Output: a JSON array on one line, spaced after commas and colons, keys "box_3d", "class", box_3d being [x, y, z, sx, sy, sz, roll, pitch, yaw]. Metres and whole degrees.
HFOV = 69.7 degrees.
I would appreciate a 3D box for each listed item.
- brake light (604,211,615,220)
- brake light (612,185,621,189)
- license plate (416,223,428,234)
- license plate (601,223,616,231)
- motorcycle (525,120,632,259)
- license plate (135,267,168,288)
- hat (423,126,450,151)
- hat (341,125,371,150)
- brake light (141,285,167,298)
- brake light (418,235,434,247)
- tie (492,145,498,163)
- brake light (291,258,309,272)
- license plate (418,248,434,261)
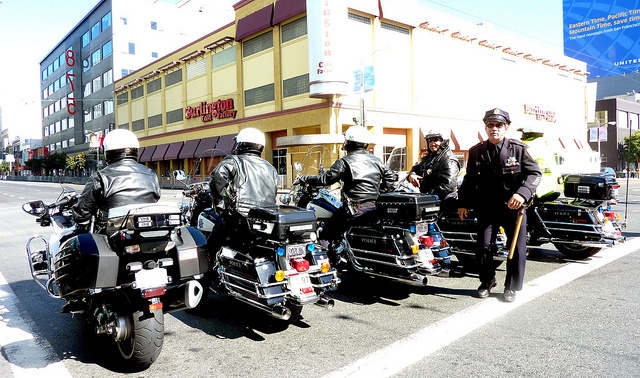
[{"box_3d": [6.606, 0.612, 10.567, 0.190, 0.183, 0.346, 4, 4, 12], "class": "brake light"}, {"box_3d": [6.828, -0.057, 10.627, 0.427, 0.074, 0.047, -3, 2, -39], "class": "brake light"}, {"box_3d": [1.983, 0.769, 8.972, 0.310, 0.201, 0.035, -2, 2, -31], "class": "license plate"}, {"box_3d": [6.515, 0.875, 10.426, 0.433, 0.153, 0.100, -2, 2, -30], "class": "license plate"}, {"box_3d": [5.866, 0.488, 10.588, 2.087, 1.629, 0.781, -1, 2, 0], "class": "motorcycle"}, {"box_3d": [-2.650, 1.393, 7.204, 0.452, 0.283, 0.143, -2, -7, -20], "class": "license plate"}, {"box_3d": [2.566, -1.051, 10.483, 0.541, 0.564, 0.731, -3, -9, 16], "class": "hat"}, {"box_3d": [0.714, -1.069, 9.661, 0.483, 0.453, 0.512, -3, 22, -34], "class": "hat"}, {"box_3d": [-2.576, 1.577, 7.156, 0.237, 0.072, 0.191, -6, 4, -13], "class": "brake light"}, {"box_3d": [2.055, 1.011, 8.937, 0.207, 0.196, 0.080, 3, -1, -9], "class": "brake light"}, {"box_3d": [3.390, -0.680, 8.940, 0.062, 0.246, 0.187, 5, 15, 3], "class": "tie"}, {"box_3d": [-0.338, 1.288, 7.898, 0.241, 0.163, 0.236, 4, 2, -41], "class": "brake light"}, {"box_3d": [2.059, 1.283, 8.931, 0.235, 0.079, 0.228, 25, -52, -31], "class": "license plate"}]
